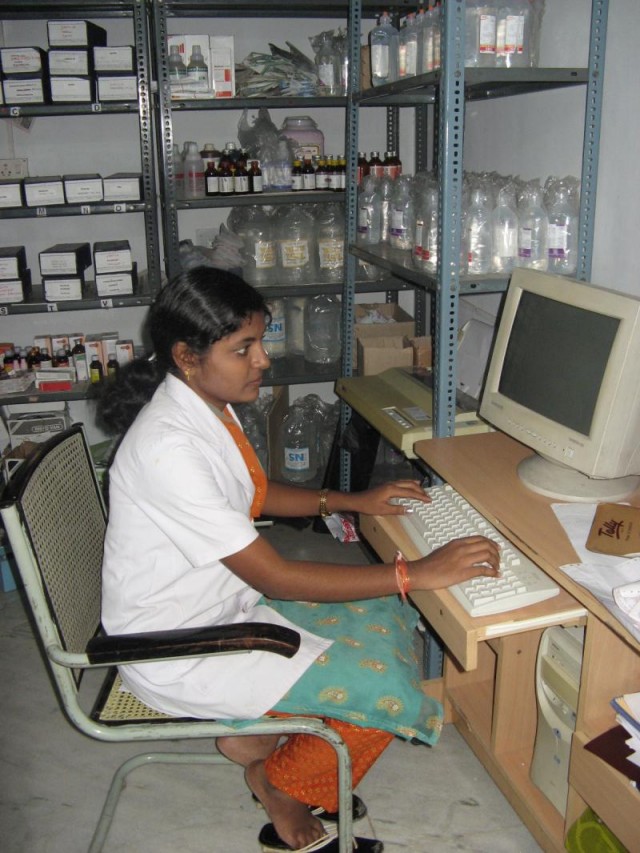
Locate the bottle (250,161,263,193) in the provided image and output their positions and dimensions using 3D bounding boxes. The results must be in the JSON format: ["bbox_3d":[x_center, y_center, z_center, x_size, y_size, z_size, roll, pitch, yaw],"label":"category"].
[{"bbox_3d":[-0.258,-1.010,2.697,0.053,0.128,0.137,-2,18,-4],"label":"bottle"}]

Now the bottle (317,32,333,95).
[{"bbox_3d":[0.027,-1.471,2.710,0.065,0.257,0.064,2,3,0],"label":"bottle"}]

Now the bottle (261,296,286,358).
[{"bbox_3d":[-0.237,-0.445,3.014,0.152,0.256,0.151,-3,9,0],"label":"bottle"}]

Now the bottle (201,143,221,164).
[{"bbox_3d":[-0.454,-1.116,2.744,0.081,0.099,0.227,-4,19,-9],"label":"bottle"}]

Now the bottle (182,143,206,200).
[{"bbox_3d":[-0.541,-1.087,2.819,0.096,0.215,0.225,-4,19,-10],"label":"bottle"}]

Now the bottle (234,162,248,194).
[{"bbox_3d":[-0.315,-0.984,2.649,0.062,0.110,0.058,-1,18,0],"label":"bottle"}]

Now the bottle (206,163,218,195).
[{"bbox_3d":[-0.435,-0.989,2.667,0.055,0.126,0.071,-3,19,-8],"label":"bottle"}]

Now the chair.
[{"bbox_3d":[-0.285,0.442,1.243,0.597,0.803,0.500,-4,36,-4],"label":"chair"}]

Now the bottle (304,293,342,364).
[{"bbox_3d":[0.008,-0.462,3.090,0.211,0.312,0.205,0,11,0],"label":"bottle"}]

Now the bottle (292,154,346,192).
[{"bbox_3d":[-0.003,-1.012,2.686,0.163,0.098,0.163,-1,10,0],"label":"bottle"}]

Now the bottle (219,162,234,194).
[{"bbox_3d":[-0.376,-0.989,2.652,0.060,0.123,0.061,-1,18,0],"label":"bottle"}]

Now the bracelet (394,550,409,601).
[{"bbox_3d":[0.130,0.249,1.081,0.015,0.059,0.044,-4,4,3],"label":"bracelet"}]

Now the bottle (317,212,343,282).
[{"bbox_3d":[0.047,-0.811,2.831,0.111,0.372,0.094,-2,50,0],"label":"bottle"}]
